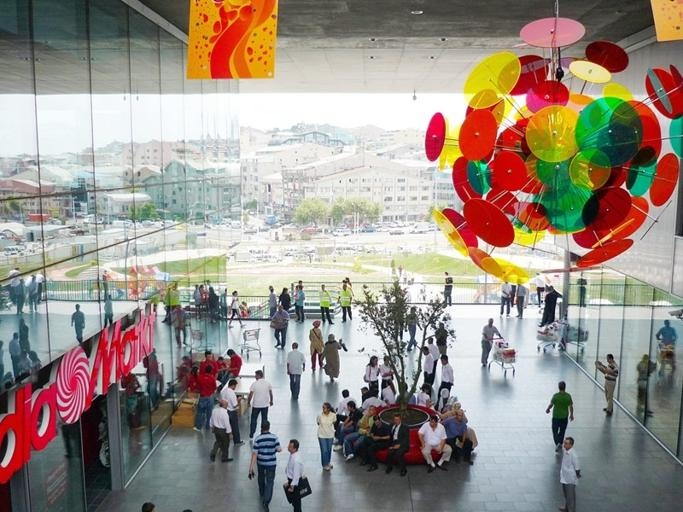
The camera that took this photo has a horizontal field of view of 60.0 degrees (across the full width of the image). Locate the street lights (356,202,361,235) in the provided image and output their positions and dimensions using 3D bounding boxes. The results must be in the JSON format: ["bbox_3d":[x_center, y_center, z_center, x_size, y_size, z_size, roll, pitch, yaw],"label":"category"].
[{"bbox_3d":[2.959,-5.917,91.702,0.521,4.634,0.867,0,9,1],"label":"street lights"}]

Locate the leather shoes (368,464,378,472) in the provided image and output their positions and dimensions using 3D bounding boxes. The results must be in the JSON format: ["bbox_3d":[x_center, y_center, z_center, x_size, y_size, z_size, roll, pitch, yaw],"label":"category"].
[{"bbox_3d":[0.740,4.802,13.534,0.277,0.213,0.102,0,0,-14],"label":"leather shoes"}]

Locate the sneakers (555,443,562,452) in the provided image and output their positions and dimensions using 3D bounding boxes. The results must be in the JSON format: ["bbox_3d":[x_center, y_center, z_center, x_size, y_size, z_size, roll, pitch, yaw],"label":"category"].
[{"bbox_3d":[5.330,4.624,14.380,0.076,0.239,0.091,4,30,-3],"label":"sneakers"}]

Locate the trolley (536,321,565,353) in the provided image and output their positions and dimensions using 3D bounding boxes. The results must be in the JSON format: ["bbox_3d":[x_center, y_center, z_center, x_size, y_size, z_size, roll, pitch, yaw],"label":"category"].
[{"bbox_3d":[7.622,2.922,21.747,1.103,1.186,0.851,0,3,-26],"label":"trolley"}]

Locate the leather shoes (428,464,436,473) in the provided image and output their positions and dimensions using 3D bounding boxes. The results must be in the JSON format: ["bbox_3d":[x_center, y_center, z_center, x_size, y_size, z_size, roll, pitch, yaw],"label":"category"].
[{"bbox_3d":[2.108,4.771,13.462,0.196,0.126,0.294,2,10,10],"label":"leather shoes"}]

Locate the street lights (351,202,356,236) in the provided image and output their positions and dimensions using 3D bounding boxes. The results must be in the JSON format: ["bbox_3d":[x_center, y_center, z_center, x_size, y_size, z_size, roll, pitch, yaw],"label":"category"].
[{"bbox_3d":[2.246,-5.276,91.867,0.728,3.906,0.856,-1,9,-1],"label":"street lights"}]

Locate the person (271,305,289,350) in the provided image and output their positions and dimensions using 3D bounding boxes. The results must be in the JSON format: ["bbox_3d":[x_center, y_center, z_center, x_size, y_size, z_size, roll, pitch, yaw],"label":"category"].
[{"bbox_3d":[-2.273,2.542,22.061,0.573,1.606,1.028,-1,10,-6],"label":"person"}]

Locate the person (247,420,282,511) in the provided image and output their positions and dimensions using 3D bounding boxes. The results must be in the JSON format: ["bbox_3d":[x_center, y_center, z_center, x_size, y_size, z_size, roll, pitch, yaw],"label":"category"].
[{"bbox_3d":[-1.600,4.156,12.386,0.622,1.906,1.204,-2,10,-11],"label":"person"}]

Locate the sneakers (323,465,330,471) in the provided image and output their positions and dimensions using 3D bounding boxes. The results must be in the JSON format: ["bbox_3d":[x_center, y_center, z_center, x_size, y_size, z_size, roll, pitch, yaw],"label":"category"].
[{"bbox_3d":[-0.294,4.807,13.501,0.074,0.062,0.147,-2,-7,-26],"label":"sneakers"}]

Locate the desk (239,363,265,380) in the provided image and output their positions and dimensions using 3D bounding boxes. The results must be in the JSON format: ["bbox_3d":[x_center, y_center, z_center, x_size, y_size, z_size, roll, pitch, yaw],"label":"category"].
[{"bbox_3d":[-2.597,3.347,17.236,0.375,0.240,0.983,0,10,0],"label":"desk"}]

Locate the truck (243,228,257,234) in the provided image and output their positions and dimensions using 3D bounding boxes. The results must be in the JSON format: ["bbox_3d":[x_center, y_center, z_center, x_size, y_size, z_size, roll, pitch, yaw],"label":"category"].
[{"bbox_3d":[-14.785,-4.144,97.585,2.140,1.032,1.053,4,11,21],"label":"truck"}]

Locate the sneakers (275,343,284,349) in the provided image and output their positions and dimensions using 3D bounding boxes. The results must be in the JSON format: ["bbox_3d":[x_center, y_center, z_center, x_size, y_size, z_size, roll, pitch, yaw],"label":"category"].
[{"bbox_3d":[-2.266,3.340,22.021,0.399,0.180,0.134,11,-28,24],"label":"sneakers"}]

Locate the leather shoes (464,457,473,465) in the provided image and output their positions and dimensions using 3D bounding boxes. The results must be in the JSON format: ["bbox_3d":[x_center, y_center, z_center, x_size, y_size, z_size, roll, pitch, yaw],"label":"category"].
[{"bbox_3d":[3.026,4.762,13.824,0.148,0.154,0.076,-7,17,9],"label":"leather shoes"}]

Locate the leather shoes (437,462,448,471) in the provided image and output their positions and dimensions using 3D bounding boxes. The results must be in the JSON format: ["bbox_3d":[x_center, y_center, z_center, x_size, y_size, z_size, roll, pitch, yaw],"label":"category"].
[{"bbox_3d":[2.351,4.775,13.572,0.215,0.105,0.243,1,10,8],"label":"leather shoes"}]

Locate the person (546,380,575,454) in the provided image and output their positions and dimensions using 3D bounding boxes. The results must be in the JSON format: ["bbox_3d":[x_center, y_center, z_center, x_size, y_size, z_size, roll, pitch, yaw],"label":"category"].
[{"bbox_3d":[5.524,3.703,14.808,0.598,1.776,1.592,3,10,21],"label":"person"}]

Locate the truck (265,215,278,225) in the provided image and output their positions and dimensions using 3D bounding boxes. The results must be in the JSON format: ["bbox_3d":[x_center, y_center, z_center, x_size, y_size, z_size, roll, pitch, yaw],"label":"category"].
[{"bbox_3d":[-11.212,-5.891,96.657,2.026,1.686,0.359,3,10,19],"label":"truck"}]

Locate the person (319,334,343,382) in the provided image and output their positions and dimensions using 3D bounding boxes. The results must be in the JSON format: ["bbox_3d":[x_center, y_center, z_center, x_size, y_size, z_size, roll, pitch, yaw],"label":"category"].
[{"bbox_3d":[-0.244,3.102,18.539,0.651,1.565,0.474,-9,25,-16],"label":"person"}]

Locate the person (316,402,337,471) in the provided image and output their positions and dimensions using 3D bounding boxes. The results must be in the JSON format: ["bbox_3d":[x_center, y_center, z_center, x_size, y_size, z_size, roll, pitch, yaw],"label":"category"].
[{"bbox_3d":[-0.290,4.054,13.520,0.479,1.576,0.319,-8,12,-40],"label":"person"}]

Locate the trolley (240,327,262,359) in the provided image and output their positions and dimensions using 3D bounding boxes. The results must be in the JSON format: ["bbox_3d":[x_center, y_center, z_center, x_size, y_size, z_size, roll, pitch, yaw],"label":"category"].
[{"bbox_3d":[-3.320,3.165,22.008,0.650,1.279,1.119,0,-4,-4],"label":"trolley"}]

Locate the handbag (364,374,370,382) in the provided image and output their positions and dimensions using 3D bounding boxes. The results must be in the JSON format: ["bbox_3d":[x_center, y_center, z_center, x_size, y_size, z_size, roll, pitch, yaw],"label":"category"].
[{"bbox_3d":[0.761,3.426,16.698,0.209,0.208,0.152,1,-4,-27],"label":"handbag"}]

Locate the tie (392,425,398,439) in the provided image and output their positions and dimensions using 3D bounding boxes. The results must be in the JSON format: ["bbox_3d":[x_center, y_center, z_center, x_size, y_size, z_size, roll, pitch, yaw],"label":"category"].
[{"bbox_3d":[1.260,4.020,13.604,0.184,0.281,0.065,-1,-3,41],"label":"tie"}]

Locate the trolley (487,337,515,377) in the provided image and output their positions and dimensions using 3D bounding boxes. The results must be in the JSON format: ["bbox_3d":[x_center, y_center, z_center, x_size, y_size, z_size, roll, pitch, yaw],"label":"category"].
[{"bbox_3d":[5.435,3.287,19.686,0.592,0.976,0.861,-2,4,-21],"label":"trolley"}]
